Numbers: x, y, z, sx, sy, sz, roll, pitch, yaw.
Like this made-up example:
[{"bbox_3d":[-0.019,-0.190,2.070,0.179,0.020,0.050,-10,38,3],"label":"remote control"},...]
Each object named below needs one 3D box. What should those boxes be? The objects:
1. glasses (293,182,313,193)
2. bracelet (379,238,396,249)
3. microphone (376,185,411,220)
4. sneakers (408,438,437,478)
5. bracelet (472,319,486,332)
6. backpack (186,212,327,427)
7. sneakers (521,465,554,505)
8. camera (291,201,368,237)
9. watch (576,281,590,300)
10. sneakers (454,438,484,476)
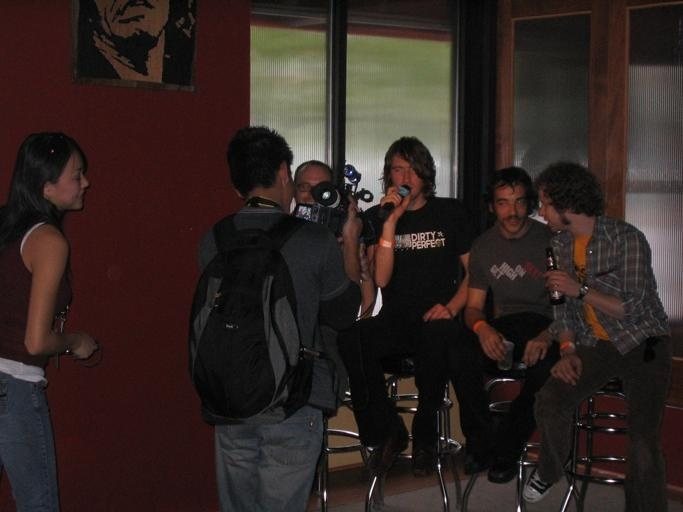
[{"bbox_3d":[-0.220,-0.393,3.565,0.135,0.058,0.143,1,-3,5],"label":"glasses"},{"bbox_3d":[0.242,-0.069,3.387,0.073,0.058,0.045,0,3,-1],"label":"bracelet"},{"bbox_3d":[0.288,-0.295,3.389,0.087,0.093,0.306,14,42,29],"label":"microphone"},{"bbox_3d":[0.409,0.991,3.088,0.129,0.178,0.134,0,3,4],"label":"sneakers"},{"bbox_3d":[0.763,0.388,3.488,0.014,0.058,0.061,36,39,-8],"label":"bracelet"},{"bbox_3d":[-0.326,0.233,2.368,0.509,0.779,0.224,0,3,-3],"label":"backpack"},{"bbox_3d":[1.058,1.237,3.377,0.105,0.129,0.321,25,0,23],"label":"sneakers"},{"bbox_3d":[-0.066,-0.181,2.847,0.206,0.069,0.193,-16,36,-30],"label":"camera"},{"bbox_3d":[1.247,0.170,3.206,0.051,0.085,0.075,8,-13,24],"label":"watch"},{"bbox_3d":[0.680,1.019,3.184,0.122,0.193,0.087,2,4,29],"label":"sneakers"}]
